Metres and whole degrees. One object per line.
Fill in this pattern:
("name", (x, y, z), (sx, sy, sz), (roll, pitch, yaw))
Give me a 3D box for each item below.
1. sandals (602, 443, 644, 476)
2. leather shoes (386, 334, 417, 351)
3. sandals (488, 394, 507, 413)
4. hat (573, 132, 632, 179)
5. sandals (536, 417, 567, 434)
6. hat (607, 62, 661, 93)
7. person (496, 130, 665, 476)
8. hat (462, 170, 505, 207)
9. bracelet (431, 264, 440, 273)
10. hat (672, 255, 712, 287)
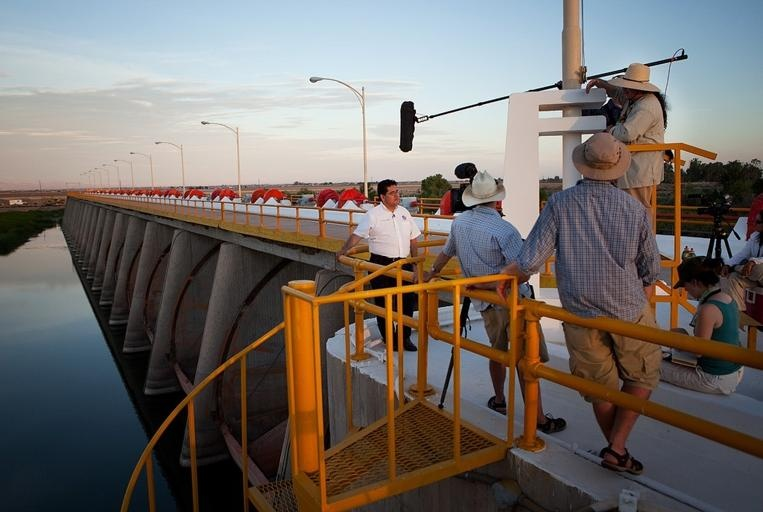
("sandals", (1.801, 1.529, 3.977), (0.319, 0.164, 0.165), (13, -4, -13))
("leather shoes", (0.270, 1.047, 6.435), (0.395, 0.177, 0.138), (1, 10, 36))
("sandals", (1.093, 1.408, 5.000), (0.090, 0.095, 0.215), (0, 7, -8))
("hat", (1.664, -0.757, 3.998), (0.452, 0.366, 0.229), (-1, 10, -8))
("sandals", (1.500, 1.492, 4.698), (0.305, 0.137, 0.125), (-6, 11, -13))
("hat", (2.608, -1.808, 5.342), (0.374, 0.270, 0.260), (6, 12, 27))
("person", (1.635, 0.390, 4.061), (1.083, 2.624, 0.664), (3, 10, 14))
("hat", (0.924, -0.645, 4.739), (0.399, 0.184, 0.494), (6, 32, 28))
("bracelet", (0.496, 0.116, 4.813), (0.066, 0.070, 0.067), (2, 14, 10))
("hat", (2.875, 0.158, 4.792), (0.318, 0.307, 0.181), (8, 13, 34))
